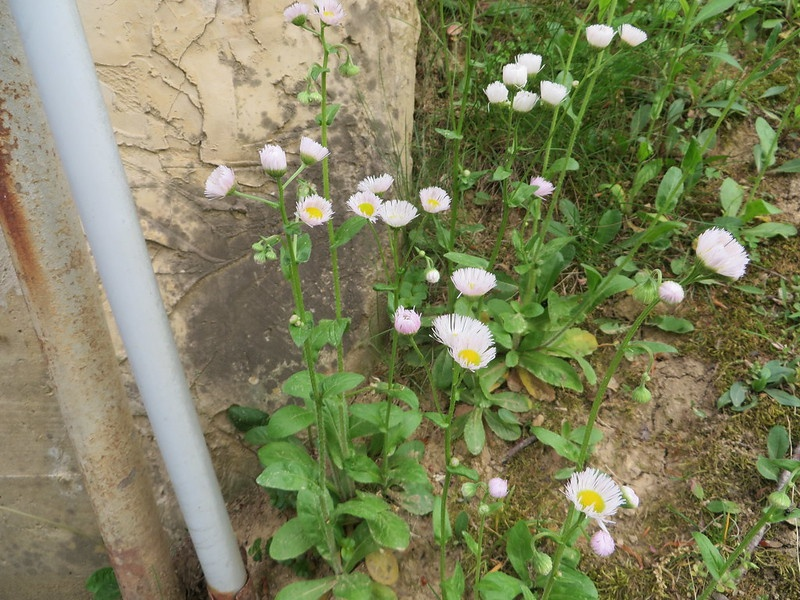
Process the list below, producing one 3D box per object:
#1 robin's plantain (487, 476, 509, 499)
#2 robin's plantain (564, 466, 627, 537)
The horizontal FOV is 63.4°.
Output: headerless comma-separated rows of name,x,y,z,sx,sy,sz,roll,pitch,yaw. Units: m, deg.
robin's plantain,0.386,0.759,2.605,0.087,0.142,0.077,19,80,3
robin's plantain,0.670,0.683,2.279,0.197,0.234,0.104,7,108,23
